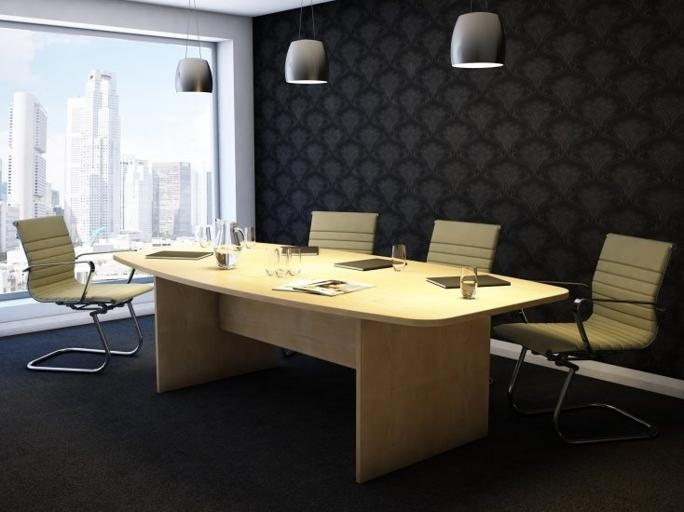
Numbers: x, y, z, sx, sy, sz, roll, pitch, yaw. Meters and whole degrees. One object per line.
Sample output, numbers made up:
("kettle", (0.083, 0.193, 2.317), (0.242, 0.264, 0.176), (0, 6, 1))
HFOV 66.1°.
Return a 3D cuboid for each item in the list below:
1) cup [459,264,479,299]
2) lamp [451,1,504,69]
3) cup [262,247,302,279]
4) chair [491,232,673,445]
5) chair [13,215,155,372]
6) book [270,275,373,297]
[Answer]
("cup", (0.664, 0.133, 2.742), (0.090, 0.169, 0.169), (4, 13, 14))
("lamp", (0.738, -1.170, 2.828), (0.268, 0.275, 0.207), (0, 13, -1))
("cup", (-0.373, 0.043, 3.233), (0.204, 0.190, 0.205), (-1, 1, 0))
("chair", (1.510, 0.493, 3.378), (0.966, 1.168, 0.827), (-4, 5, -14))
("chair", (-2.107, 0.295, 4.374), (1.073, 1.136, 0.878), (4, 6, -13))
("book", (-0.093, 0.161, 2.866), (0.452, 0.024, 0.383), (6, 13, 23))
